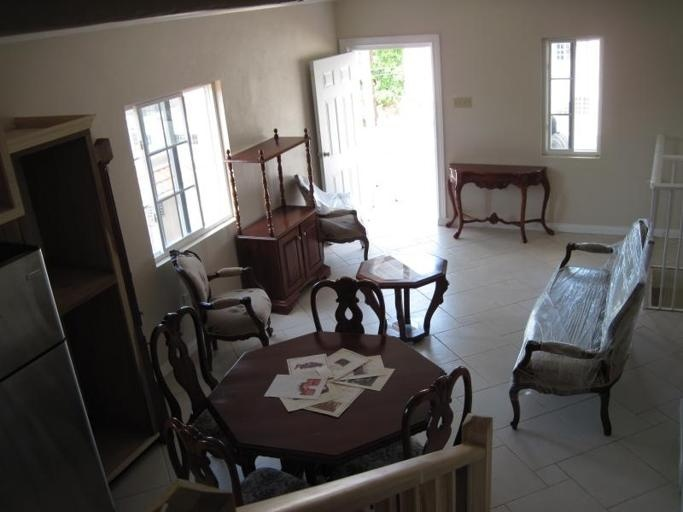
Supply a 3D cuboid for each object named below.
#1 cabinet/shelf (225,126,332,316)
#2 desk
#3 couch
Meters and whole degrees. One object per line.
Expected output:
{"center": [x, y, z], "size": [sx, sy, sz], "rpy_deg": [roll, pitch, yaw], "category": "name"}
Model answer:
{"center": [-0.764, -0.361, 5.690], "size": [0.671, 2.067, 1.439], "rpy_deg": [0, 32, 18], "category": "cabinet/shelf"}
{"center": [2.215, -0.737, 6.876], "size": [0.960, 0.633, 0.356], "rpy_deg": [9, 37, 26], "category": "desk"}
{"center": [1.963, 0.468, 4.035], "size": [0.809, 1.319, 1.605], "rpy_deg": [6, 19, 32], "category": "couch"}
